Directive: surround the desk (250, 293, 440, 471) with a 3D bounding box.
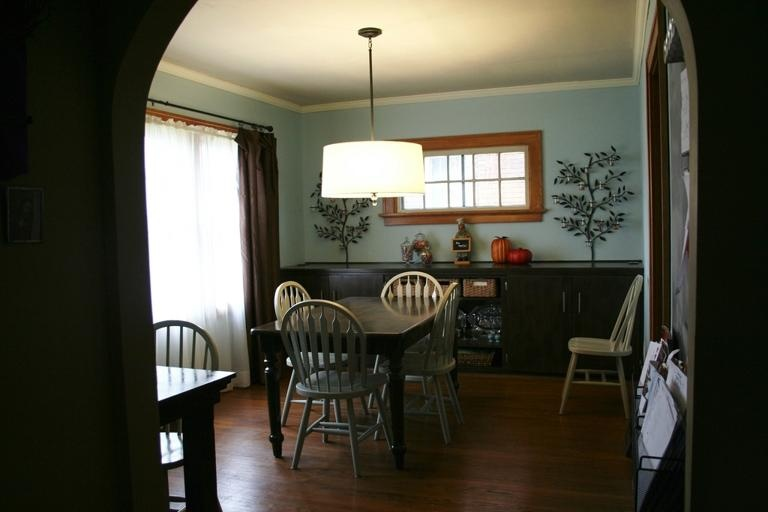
[{"bbox_3d":[-0.216,0.768,4.366,1.056,0.935,1.584,1,12,9],"label":"desk"}]

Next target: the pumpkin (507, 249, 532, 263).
[{"bbox_3d":[1.359,0.004,5.559,0.158,0.119,0.163,2,-2,-1],"label":"pumpkin"}]

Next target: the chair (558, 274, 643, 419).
[{"bbox_3d":[1.702,0.660,4.372,0.669,1.053,0.647,2,2,43],"label":"chair"}]

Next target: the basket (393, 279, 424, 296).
[{"bbox_3d":[0.231,0.299,5.104,0.207,0.158,0.209,-1,2,4],"label":"basket"}]

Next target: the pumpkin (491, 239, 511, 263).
[{"bbox_3d":[1.177,-0.048,5.666,0.226,0.294,0.221,0,-2,-2],"label":"pumpkin"}]

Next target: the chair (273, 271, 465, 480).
[{"bbox_3d":[-0.080,0.727,3.713,1.172,0.761,1.236,-1,2,12],"label":"chair"}]

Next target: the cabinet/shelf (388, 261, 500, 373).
[{"bbox_3d":[0.537,0.518,4.665,1.019,0.964,0.402,0,0,14],"label":"cabinet/shelf"}]

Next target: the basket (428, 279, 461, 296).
[{"bbox_3d":[0.547,0.262,4.976,0.206,0.129,0.208,1,3,15],"label":"basket"}]

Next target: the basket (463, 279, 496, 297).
[{"bbox_3d":[0.916,0.307,5.323,0.176,0.144,0.245,0,-2,7],"label":"basket"}]

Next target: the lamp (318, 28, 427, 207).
[{"bbox_3d":[-0.078,-0.964,3.785,0.756,1.153,0.762,-2,-1,-26],"label":"lamp"}]

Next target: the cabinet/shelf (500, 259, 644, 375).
[{"bbox_3d":[1.796,0.555,5.296,1.209,1.027,0.454,0,16,18],"label":"cabinet/shelf"}]
